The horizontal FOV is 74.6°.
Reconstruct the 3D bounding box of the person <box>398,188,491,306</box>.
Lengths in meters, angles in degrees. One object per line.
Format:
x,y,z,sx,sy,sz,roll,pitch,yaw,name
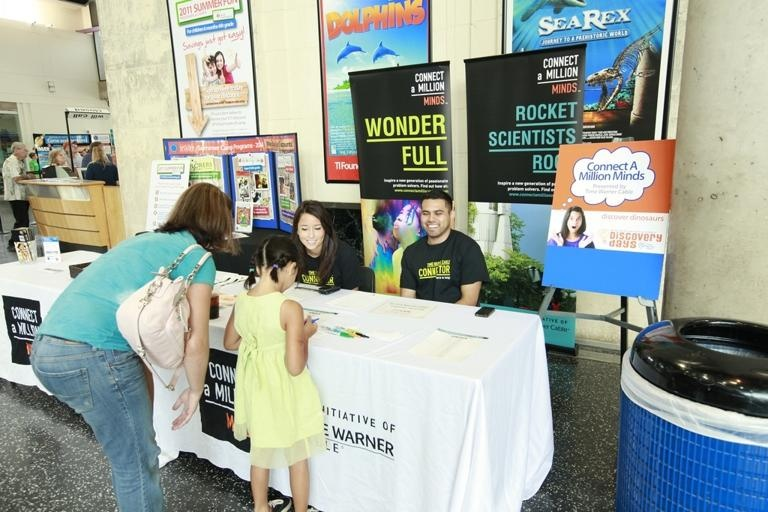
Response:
0.377,0.013,3.651,0.680,0.972,0.603,3,16,24,person
